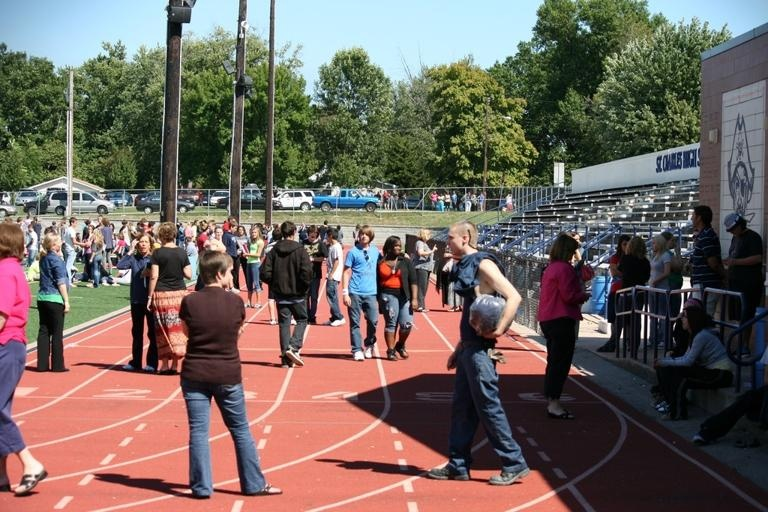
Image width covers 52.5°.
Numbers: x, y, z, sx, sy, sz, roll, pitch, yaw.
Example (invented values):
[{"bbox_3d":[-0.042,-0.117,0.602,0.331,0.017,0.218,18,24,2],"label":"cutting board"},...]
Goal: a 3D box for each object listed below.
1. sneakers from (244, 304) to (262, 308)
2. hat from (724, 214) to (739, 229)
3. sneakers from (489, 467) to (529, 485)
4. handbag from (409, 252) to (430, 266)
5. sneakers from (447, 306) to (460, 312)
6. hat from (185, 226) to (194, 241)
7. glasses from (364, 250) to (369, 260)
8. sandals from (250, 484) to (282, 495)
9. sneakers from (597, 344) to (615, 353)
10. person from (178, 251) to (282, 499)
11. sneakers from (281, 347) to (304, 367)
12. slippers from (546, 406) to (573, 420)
[{"bbox_3d":[-3.689,1.454,22.170,0.458,0.202,0.160,7,1,1],"label":"sneakers"},{"bbox_3d":[5.748,-0.556,12.857,0.240,0.202,0.176,-44,0,22],"label":"hat"},{"bbox_3d":[1.469,2.614,9.244,0.486,0.246,0.184,-3,6,-13],"label":"sneakers"},{"bbox_3d":[1.030,0.107,21.372,0.397,0.326,0.317,-3,3,12],"label":"handbag"},{"bbox_3d":[2.026,1.550,22.546,0.398,0.177,0.138,3,1,23],"label":"sneakers"},{"bbox_3d":[-7.625,-0.898,30.794,0.500,0.267,0.687,1,22,-3],"label":"hat"},{"bbox_3d":[-0.326,-0.012,14.911,0.109,0.158,0.050,-8,-7,-31],"label":"glasses"},{"bbox_3d":[-1.311,2.661,8.834,0.259,0.089,0.137,-4,4,-13],"label":"sandals"},{"bbox_3d":[4.456,1.871,15.557,0.365,0.152,0.138,0,0,43],"label":"sneakers"},{"bbox_3d":[-1.839,1.366,8.867,0.877,2.697,0.652,-1,6,-14],"label":"person"},{"bbox_3d":[-1.636,1.880,14.232,0.225,0.252,0.541,2,-22,21],"label":"sneakers"},{"bbox_3d":[2.590,2.330,11.376,0.350,0.135,0.096,1,6,9],"label":"slippers"}]
